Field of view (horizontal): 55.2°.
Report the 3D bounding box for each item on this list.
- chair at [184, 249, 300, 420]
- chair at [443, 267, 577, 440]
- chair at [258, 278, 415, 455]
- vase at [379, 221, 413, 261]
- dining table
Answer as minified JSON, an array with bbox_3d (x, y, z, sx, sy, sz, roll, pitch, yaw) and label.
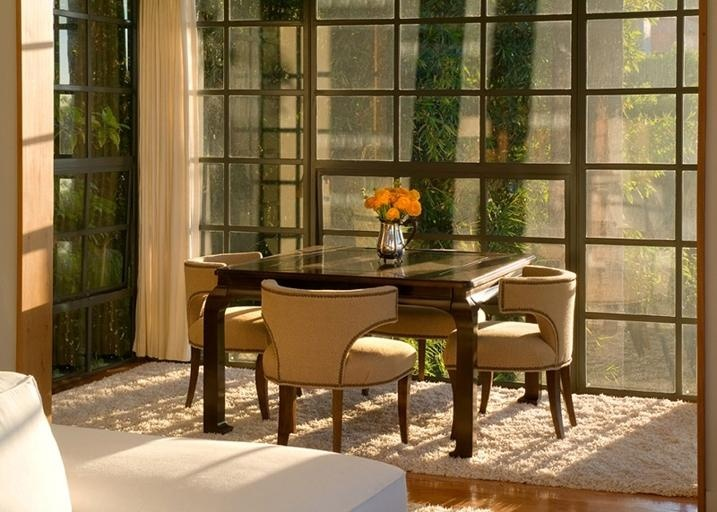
[{"bbox_3d":[-0.981,0.559,4.885,0.642,1.046,0.779,1,-1,-13],"label":"chair"},{"bbox_3d":[0.961,0.600,4.499,0.832,1.077,0.894,-5,7,-40],"label":"chair"},{"bbox_3d":[-0.154,0.574,4.123,0.883,1.094,0.890,2,3,31],"label":"chair"},{"bbox_3d":[0.246,-0.107,4.739,0.300,0.335,0.221,2,1,2],"label":"vase"},{"bbox_3d":[0.058,0.382,4.447,1.382,0.946,1.369,0,1,19],"label":"dining table"}]
